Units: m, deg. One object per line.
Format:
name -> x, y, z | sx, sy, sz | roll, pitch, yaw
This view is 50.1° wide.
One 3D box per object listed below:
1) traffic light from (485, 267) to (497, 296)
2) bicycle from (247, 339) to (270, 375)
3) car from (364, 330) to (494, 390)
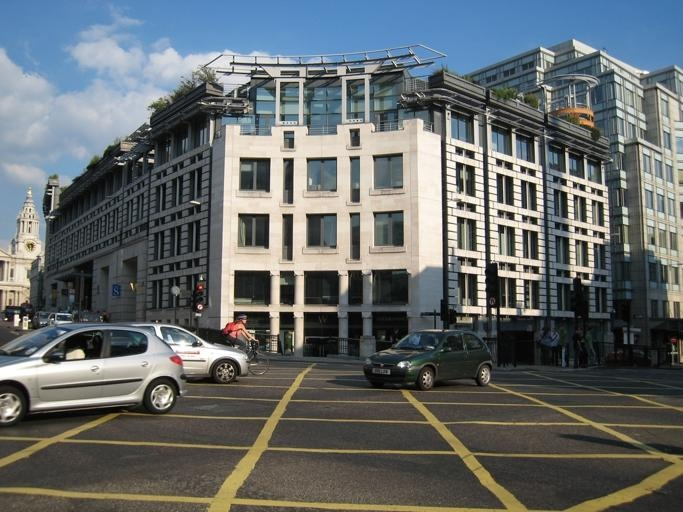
traffic light -> 6.513, 0.998, 31.551 | 0.436, 1.358, 0.723 | -1, -10, 7
bicycle -> -3.027, 3.327, 25.573 | 0.575, 0.770, 1.232 | -10, 11, -4
car -> 2.653, 3.024, 21.402 | 3.719, 1.758, 1.147 | 7, -12, -35
